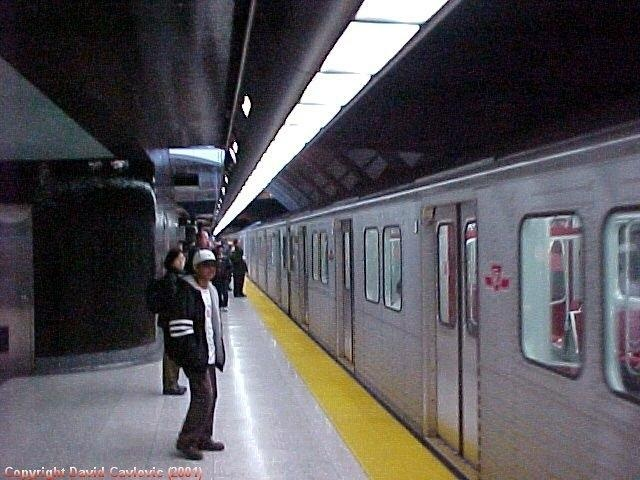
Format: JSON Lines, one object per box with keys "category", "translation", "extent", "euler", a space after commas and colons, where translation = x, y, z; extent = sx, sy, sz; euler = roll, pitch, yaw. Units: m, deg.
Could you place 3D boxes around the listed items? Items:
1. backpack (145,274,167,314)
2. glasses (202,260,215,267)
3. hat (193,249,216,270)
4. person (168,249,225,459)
{"category": "backpack", "translation": [-2.116, 0.716, 5.943], "extent": [0.211, 0.466, 0.361], "euler": [0, -1, -21]}
{"category": "glasses", "translation": [-1.133, 0.244, 4.722], "extent": [0.089, 0.075, 0.153], "euler": [4, -1, -17]}
{"category": "hat", "translation": [-1.171, 0.218, 4.818], "extent": [0.218, 0.183, 0.377], "euler": [7, 2, -5]}
{"category": "person", "translation": [-1.273, 1.199, 4.830], "extent": [0.420, 2.196, 0.605], "euler": [0, -1, 17]}
